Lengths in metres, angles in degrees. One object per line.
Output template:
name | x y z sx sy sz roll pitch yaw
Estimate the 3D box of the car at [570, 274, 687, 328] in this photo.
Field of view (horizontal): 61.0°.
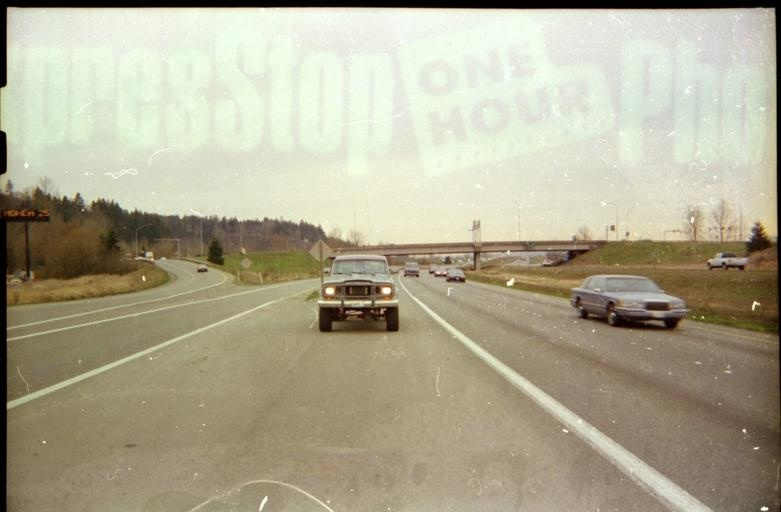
car | 6.699 1.313 19.579 1.381 1.060 3.253 2 -5 -9
